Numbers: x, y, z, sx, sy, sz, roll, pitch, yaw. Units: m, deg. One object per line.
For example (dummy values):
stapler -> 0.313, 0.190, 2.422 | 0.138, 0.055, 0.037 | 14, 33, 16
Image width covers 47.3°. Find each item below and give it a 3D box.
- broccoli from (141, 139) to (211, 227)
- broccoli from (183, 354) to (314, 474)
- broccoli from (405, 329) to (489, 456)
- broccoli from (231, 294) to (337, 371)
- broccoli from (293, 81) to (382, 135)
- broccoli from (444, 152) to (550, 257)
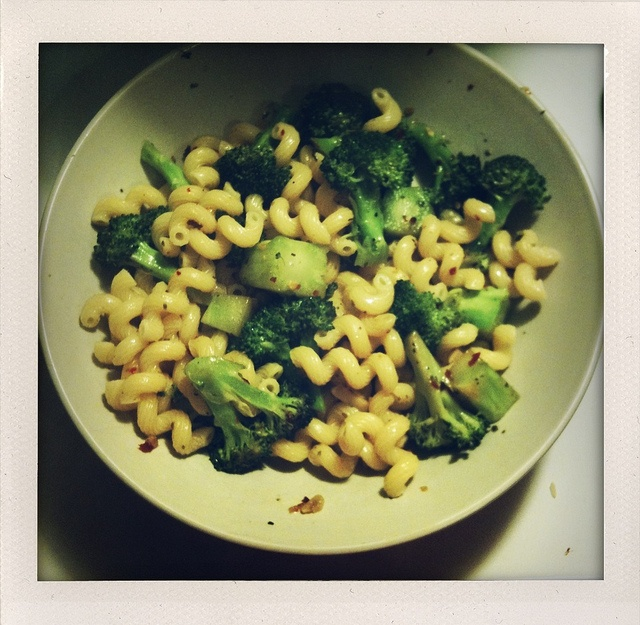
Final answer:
broccoli -> -0.430, -0.382, 2.168 | 0.127, 0.063, 0.245 | -42, 78, 5
broccoli -> -0.196, 0.281, 2.007 | 0.334, 0.225, 0.225 | -3, 50, 2
broccoli -> 0.330, 0.241, 1.949 | 0.187, 0.141, 0.360 | -15, 84, 7
broccoli -> -0.104, 0.045, 1.971 | 0.170, 0.093, 0.258 | 42, 90, 2
broccoli -> 0.040, -0.570, 2.146 | 0.144, 0.051, 0.171 | 30, 90, -1
broccoli -> 0.477, -0.320, 2.075 | 0.230, 0.131, 0.269 | 37, 95, 15
